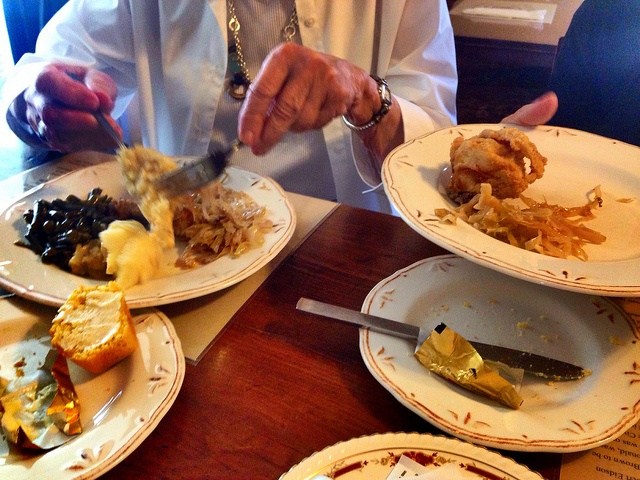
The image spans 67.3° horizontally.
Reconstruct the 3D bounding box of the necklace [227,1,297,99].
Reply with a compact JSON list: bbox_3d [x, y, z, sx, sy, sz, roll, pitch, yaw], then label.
[{"bbox_3d":[-0.230,-0.757,1.921,0.290,0.334,0.216,-2,43,-2],"label":"necklace"}]
